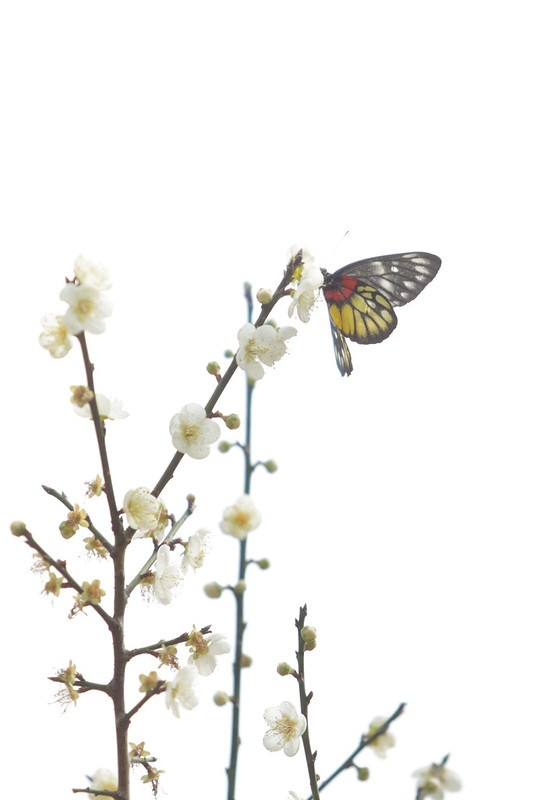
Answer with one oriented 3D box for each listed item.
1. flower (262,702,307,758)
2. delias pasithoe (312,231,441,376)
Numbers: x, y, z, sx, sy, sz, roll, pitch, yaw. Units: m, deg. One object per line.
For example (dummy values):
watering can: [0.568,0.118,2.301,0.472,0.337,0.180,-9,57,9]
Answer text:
flower: [0.049,0.925,3.917,0.124,0.126,0.112,-9,-58,-1]
delias pasithoe: [0.357,-0.355,4.794,0.460,0.307,0.375,-18,-75,38]
